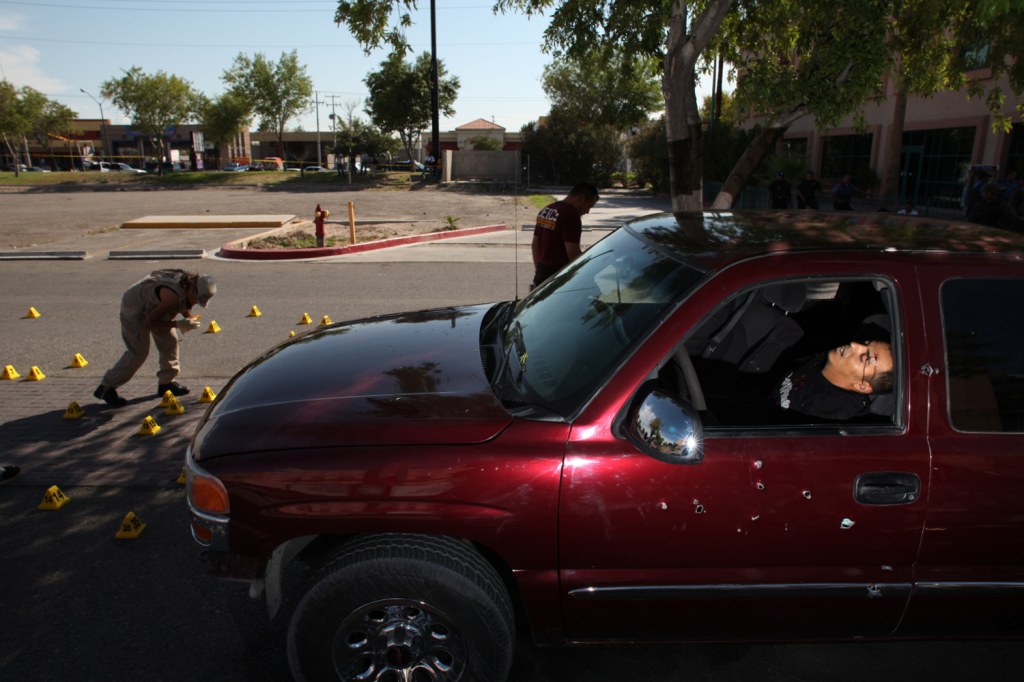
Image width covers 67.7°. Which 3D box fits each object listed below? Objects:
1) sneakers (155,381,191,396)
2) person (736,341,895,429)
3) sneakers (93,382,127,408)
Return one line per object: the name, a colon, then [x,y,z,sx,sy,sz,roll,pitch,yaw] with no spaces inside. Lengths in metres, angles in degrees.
sneakers: [-3.348,0.473,7.562,0.334,0.134,0.119,2,21,-36]
person: [1.779,0.231,4.232,0.756,0.276,0.563,-13,26,26]
sneakers: [-3.863,0.524,7.337,0.383,0.164,0.144,24,14,-45]
